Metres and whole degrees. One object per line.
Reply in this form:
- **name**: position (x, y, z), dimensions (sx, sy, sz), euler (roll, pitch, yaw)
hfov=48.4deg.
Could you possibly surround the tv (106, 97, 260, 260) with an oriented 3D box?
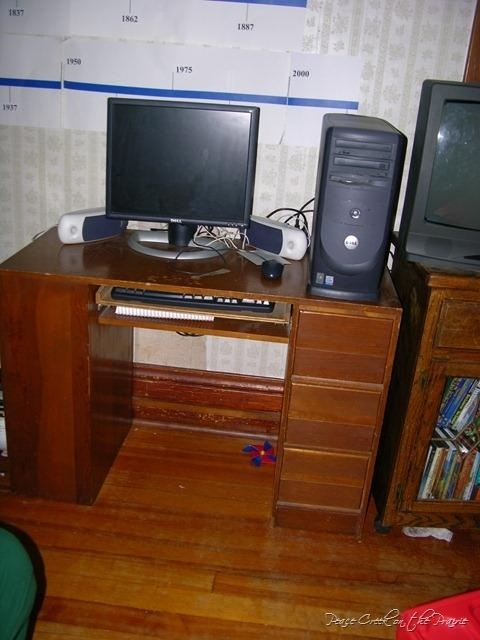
- **tv**: position (-0.175, -0.422, 1.594), dimensions (0.436, 0.417, 0.238), euler (5, 25, 3)

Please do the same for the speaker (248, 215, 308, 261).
- **speaker**: position (0.113, -0.248, 1.625), dimensions (0.211, 0.102, 0.054), euler (25, 34, 32)
